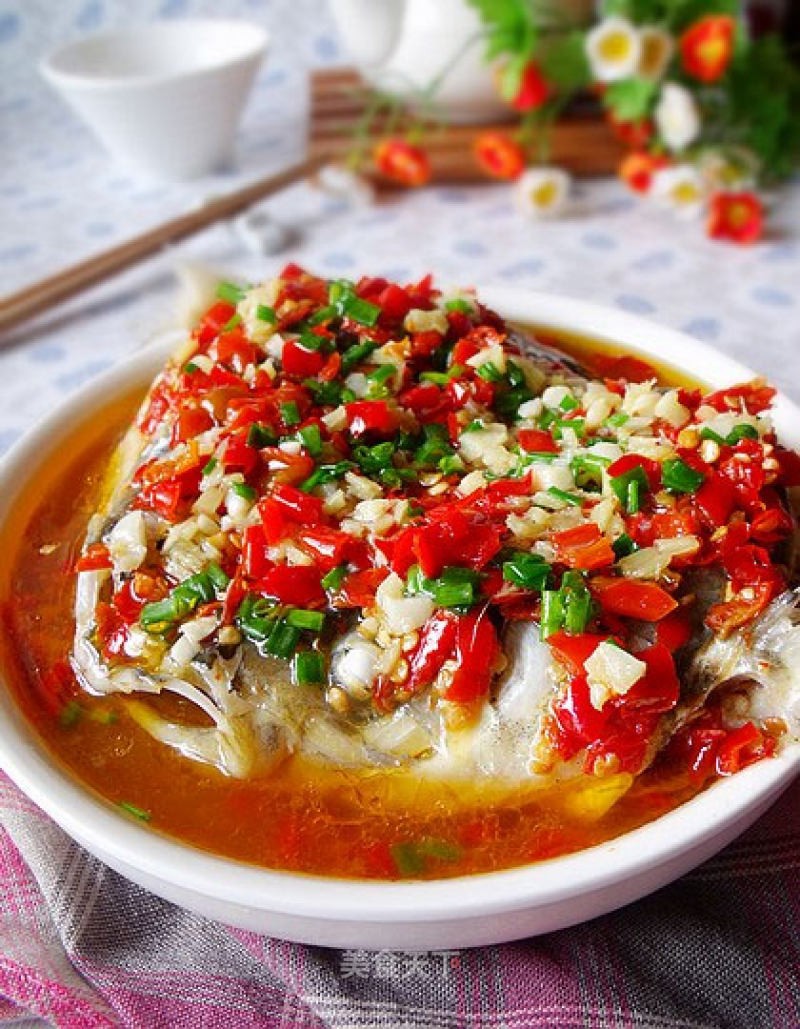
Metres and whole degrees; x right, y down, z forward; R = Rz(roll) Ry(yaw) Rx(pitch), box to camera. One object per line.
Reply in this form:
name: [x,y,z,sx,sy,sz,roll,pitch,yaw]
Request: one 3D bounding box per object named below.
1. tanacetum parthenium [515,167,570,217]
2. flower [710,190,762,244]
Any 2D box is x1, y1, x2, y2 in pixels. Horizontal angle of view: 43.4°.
tanacetum parthenium: [0.666,-1.467,4.641,0.293,0.137,0.214,-3,99,-6]
flower: [1.471,-1.303,4.371,0.260,0.111,0.311,8,60,12]
